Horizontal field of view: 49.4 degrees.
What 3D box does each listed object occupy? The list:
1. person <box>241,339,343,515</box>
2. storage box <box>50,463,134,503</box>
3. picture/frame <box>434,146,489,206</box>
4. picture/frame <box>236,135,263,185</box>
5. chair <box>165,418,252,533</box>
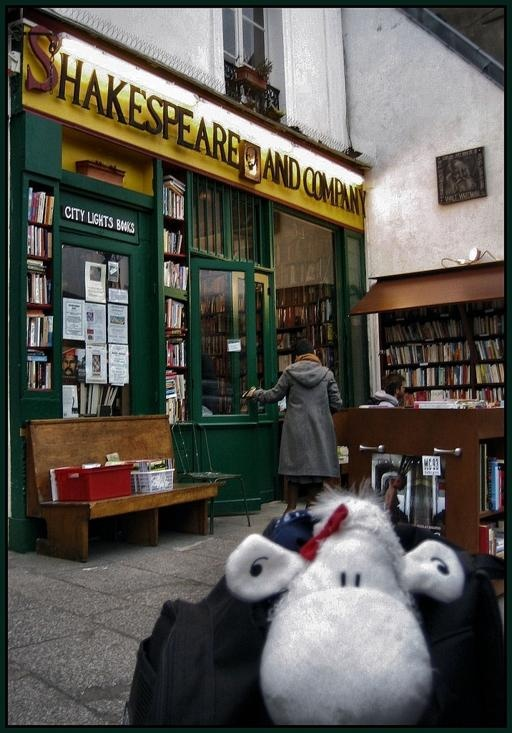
[{"bbox_3d":[0.375,0.670,5.179,0.655,1.760,0.576,2,-22,7],"label":"person"},{"bbox_3d":[-1.133,0.827,3.963,0.270,0.227,0.387,-4,-6,34],"label":"storage box"},{"bbox_3d":[3.024,-2.782,8.088,0.628,0.977,0.102,-5,-4,37],"label":"picture/frame"},{"bbox_3d":[-0.092,-2.409,6.469,0.161,0.733,0.502,-2,-4,20],"label":"picture/frame"},{"bbox_3d":[-0.437,1.051,5.410,0.673,1.312,0.744,-12,-9,4],"label":"chair"}]
